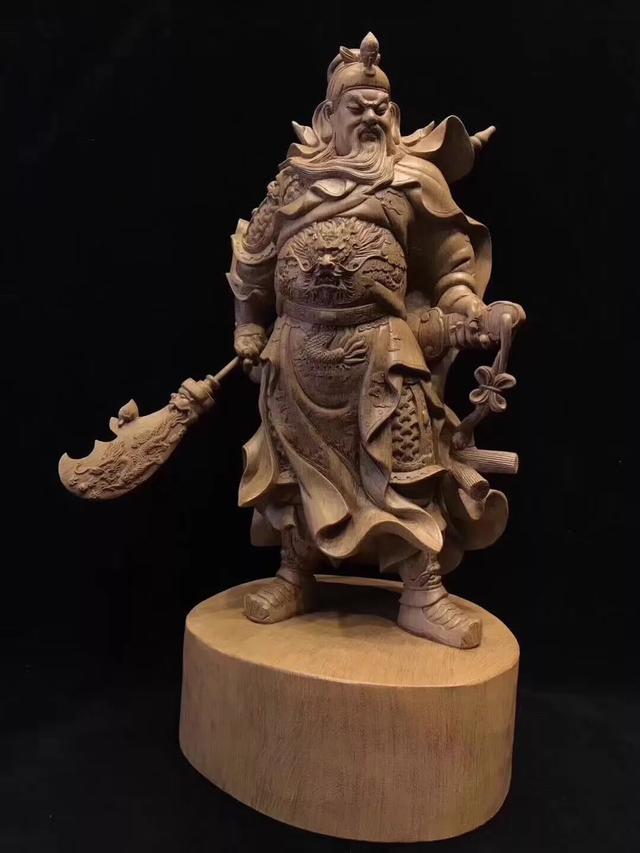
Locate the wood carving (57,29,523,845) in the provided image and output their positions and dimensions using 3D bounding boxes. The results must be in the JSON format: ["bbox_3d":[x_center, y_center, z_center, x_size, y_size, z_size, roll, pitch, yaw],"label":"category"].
[{"bbox_3d":[0.023,-0.029,3.197,1.005,1.878,0.718,3,5,11],"label":"wood carving"}]
